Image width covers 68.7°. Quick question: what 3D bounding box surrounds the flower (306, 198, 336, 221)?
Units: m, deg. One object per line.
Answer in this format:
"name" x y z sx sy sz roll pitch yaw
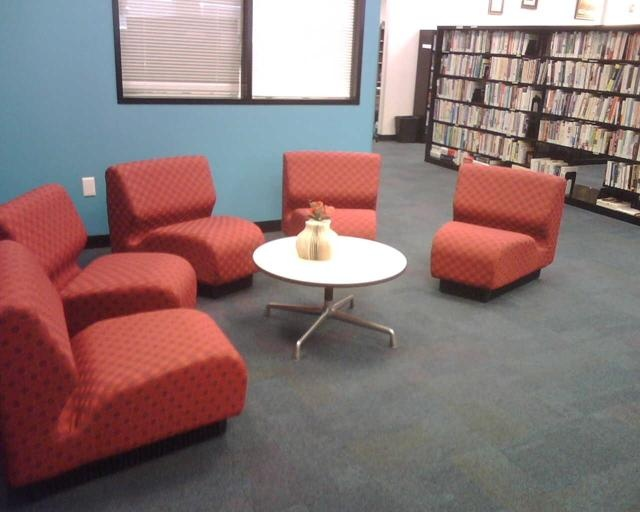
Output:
"flower" 0.002 -0.325 3.375 0.220 0.167 0.293 -3 10 -21

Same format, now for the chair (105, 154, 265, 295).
"chair" -1.100 -0.259 4.147 1.253 1.175 1.069 9 17 31

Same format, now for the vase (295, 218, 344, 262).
"vase" -0.028 -0.087 3.166 0.261 0.275 0.263 0 11 -6

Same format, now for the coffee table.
"coffee table" 0.051 0.067 3.218 0.844 0.485 0.882 14 21 32

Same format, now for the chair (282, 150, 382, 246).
"chair" 0.099 -0.632 4.524 0.837 0.891 0.882 0 11 -7
